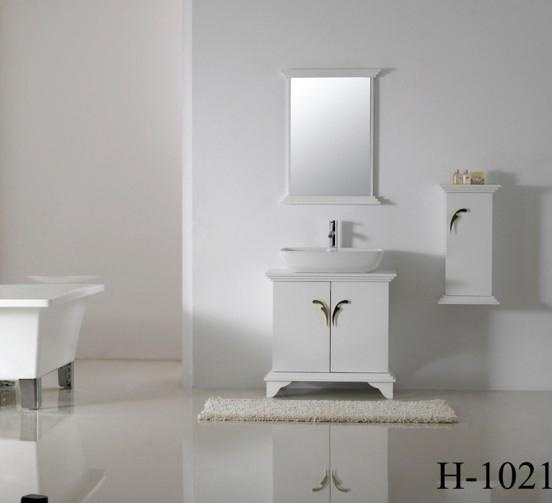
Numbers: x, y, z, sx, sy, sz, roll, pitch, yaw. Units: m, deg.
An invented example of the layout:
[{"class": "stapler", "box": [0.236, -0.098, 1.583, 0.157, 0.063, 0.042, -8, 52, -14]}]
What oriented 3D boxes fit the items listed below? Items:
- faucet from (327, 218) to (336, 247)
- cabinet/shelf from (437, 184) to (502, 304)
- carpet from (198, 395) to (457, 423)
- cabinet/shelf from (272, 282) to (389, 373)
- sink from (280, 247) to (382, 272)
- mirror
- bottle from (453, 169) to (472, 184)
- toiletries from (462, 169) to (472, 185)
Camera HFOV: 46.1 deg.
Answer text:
[{"class": "faucet", "box": [0.340, -0.105, 3.894, 0.042, 0.173, 0.047, 1, -9, 5]}, {"class": "cabinet/shelf", "box": [1.112, -0.042, 3.755, 0.328, 0.677, 0.166, 1, -9, 6]}, {"class": "carpet", "box": [0.270, 0.855, 3.490, 1.328, 0.098, 0.407, 1, -8, 1]}, {"class": "cabinet/shelf", "box": [0.332, 0.423, 3.652, 0.703, 0.422, 0.203, 0, -1, 2]}, {"class": "sink", "box": [0.313, 0.052, 3.667, 0.561, 0.140, 0.193, 0, -8, 5]}, {"class": "mirror", "box": [0.333, -0.694, 3.918, 0.562, 0.802, 0.187, 1, -9, 4]}, {"class": "bottle", "box": [1.095, -0.439, 3.825, 0.138, 0.089, 0.065, 1, 3, 8]}, {"class": "toiletries", "box": [1.116, -0.431, 3.805, 0.040, 0.088, 0.042, 3, -9, -12]}]
